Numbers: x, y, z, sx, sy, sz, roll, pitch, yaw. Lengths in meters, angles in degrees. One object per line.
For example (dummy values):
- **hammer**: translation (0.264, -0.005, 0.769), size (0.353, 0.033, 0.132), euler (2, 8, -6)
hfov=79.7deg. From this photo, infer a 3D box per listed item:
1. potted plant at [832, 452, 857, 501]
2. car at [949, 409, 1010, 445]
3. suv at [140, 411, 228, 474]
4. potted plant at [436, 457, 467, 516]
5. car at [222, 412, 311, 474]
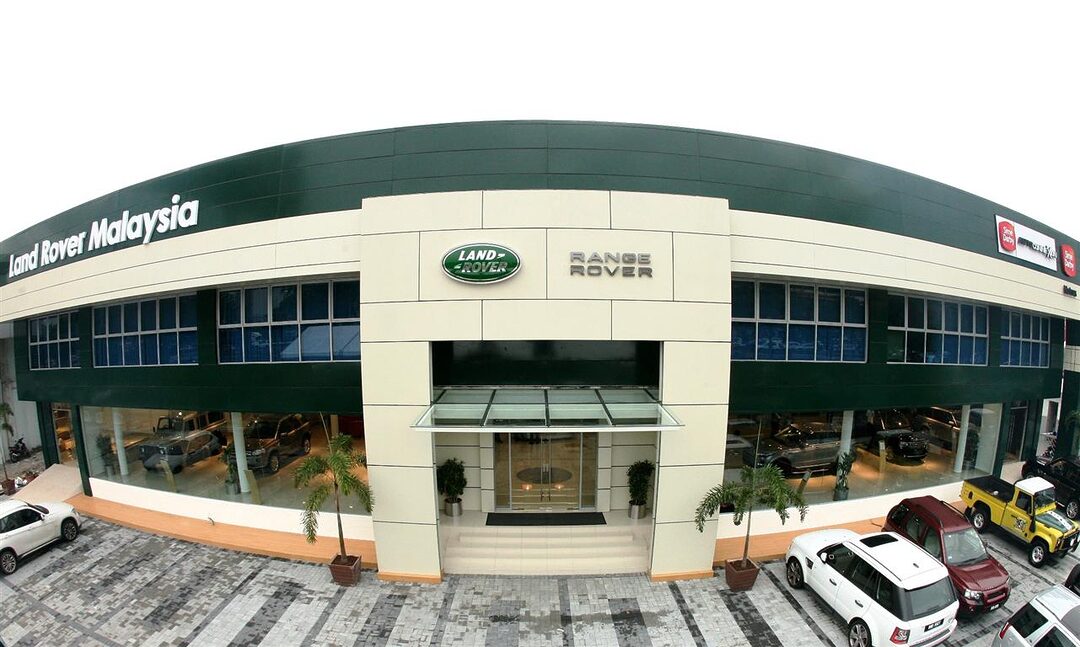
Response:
- **potted plant**: translation (15.112, 7.546, 32.008), size (1.250, 2.317, 0.519), euler (-1, -3, -31)
- **car**: translation (23.017, 5.295, 34.301), size (2.536, 1.009, 1.484), euler (-11, -5, -32)
- **suv**: translation (-18.444, 5.855, 33.469), size (2.446, 2.033, 3.801), euler (0, 14, 19)
- **potted plant**: translation (-4.269, 7.950, 31.382), size (1.342, 2.742, 0.961), euler (-2, -3, -7)
- **car**: translation (-13.658, 5.815, 32.736), size (2.587, 1.920, 4.294), euler (7, 11, 16)
